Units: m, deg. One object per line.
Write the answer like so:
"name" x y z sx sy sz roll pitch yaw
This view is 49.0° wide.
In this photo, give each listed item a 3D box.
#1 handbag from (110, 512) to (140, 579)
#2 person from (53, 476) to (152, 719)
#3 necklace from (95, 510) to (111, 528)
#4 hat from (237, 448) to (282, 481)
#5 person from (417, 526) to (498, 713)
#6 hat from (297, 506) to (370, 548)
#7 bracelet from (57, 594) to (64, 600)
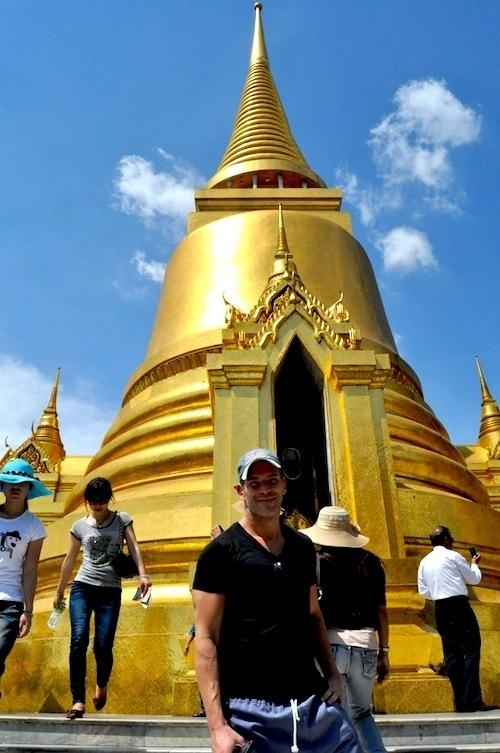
"handbag" -0.735 0.987 3.212 0.164 0.297 0.106 -1 0 9
"person" -0.872 1.253 3.116 0.452 1.334 0.702 14 -12 -30
"necklace" -0.880 0.824 3.243 0.076 0.076 0.098 0 -20 -7
"hat" 0.020 0.226 1.479 0.086 0.069 0.113 1 -35 -4
"person" 1.275 1.511 3.466 0.446 1.091 0.405 3 -12 24
"hat" 0.372 0.629 2.506 0.271 0.127 0.280 5 -17 -6
"bracelet" -1.093 1.243 3.121 0.036 0.039 0.036 -1 -7 -7
